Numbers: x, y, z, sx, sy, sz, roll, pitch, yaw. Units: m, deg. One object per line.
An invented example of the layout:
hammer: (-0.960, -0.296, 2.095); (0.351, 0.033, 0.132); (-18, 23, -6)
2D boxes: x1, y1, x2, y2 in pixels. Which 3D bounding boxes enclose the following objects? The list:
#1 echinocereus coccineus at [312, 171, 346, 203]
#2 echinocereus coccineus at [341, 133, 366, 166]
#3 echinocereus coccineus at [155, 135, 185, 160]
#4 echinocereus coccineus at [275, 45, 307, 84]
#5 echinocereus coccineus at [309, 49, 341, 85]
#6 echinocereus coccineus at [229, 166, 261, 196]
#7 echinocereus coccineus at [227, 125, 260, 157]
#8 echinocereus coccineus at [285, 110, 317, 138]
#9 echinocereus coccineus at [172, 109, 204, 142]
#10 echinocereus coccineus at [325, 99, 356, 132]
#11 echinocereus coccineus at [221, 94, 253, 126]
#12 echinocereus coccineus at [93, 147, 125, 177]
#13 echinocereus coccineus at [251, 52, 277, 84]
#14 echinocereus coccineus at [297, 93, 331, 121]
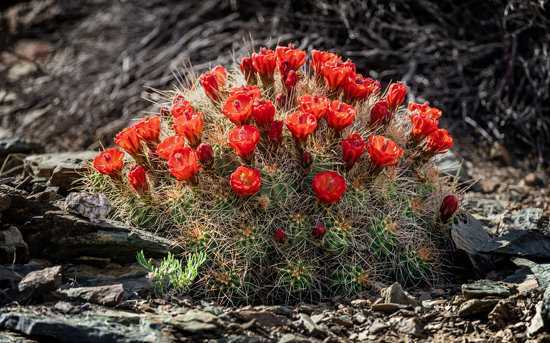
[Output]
echinocereus coccineus: (0.500, 0.185, 4.498); (0.321, 0.262, 0.301); (3, 33, -10)
echinocereus coccineus: (0.765, -0.216, 4.605); (0.221, 0.303, 0.193); (1, -10, 6)
echinocereus coccineus: (-1.018, -0.249, 4.584); (0.263, 0.122, 0.267); (-32, 41, -12)
echinocereus coccineus: (0.175, -1.151, 5.044); (0.427, 0.394, 0.347); (4, -4, 12)
echinocereus coccineus: (0.551, -1.170, 5.197); (0.412, 0.381, 0.401); (-9, 8, -31)
echinocereus coccineus: (-0.270, 0.092, 4.468); (0.264, 0.272, 0.237); (1, -10, 3)
echinocereus coccineus: (-0.302, -0.318, 4.522); (0.289, 0.276, 0.267); (-19, 29, -3)
echinocereus coccineus: (0.215, -0.458, 4.582); (0.272, 0.270, 0.268); (0, 26, -13)
echinocereus coccineus: (-0.855, -0.448, 4.640); (0.249, 0.280, 0.245); (-5, 32, 47)
echinocereus coccineus: (0.626, -0.514, 4.695); (0.318, 0.302, 0.291); (11, -10, -18)
echinocereus coccineus: (-0.342, -0.606, 4.677); (0.306, 0.278, 0.234); (18, -2, 28)
echinocereus coccineus: (-1.625, -0.080, 4.778); (0.299, 0.277, 0.246); (-20, -33, -3)
echinocereus coccineus: (-0.091, -1.066, 4.917); (0.304, 0.390, 0.298); (-5, 35, 2)
echinocereus coccineus: (0.387, -0.609, 4.709); (0.281, 0.288, 0.279); (-12, 1, 5)
